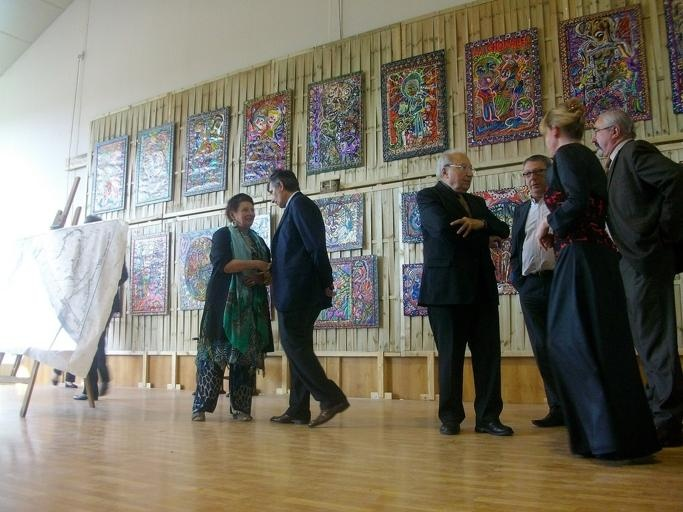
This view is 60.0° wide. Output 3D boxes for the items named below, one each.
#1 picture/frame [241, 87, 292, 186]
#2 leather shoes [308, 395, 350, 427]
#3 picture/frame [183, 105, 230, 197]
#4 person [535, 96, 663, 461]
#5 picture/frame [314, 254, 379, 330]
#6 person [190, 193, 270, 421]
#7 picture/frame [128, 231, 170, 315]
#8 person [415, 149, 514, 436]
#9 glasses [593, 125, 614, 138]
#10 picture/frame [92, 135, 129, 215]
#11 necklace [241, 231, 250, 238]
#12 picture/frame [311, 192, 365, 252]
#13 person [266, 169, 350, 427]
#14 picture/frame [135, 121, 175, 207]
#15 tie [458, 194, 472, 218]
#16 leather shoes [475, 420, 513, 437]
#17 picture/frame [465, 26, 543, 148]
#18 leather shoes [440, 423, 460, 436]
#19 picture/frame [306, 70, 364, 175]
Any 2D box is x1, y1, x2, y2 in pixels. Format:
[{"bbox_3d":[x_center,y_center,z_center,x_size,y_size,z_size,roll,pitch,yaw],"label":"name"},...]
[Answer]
[{"bbox_3d":[-1.002,-1.582,7.904,0.857,1.221,0.150,-7,-6,31],"label":"picture/frame"},{"bbox_3d":[-0.101,1.214,4.614,0.305,0.220,0.200,-4,-5,-6],"label":"leather shoes"},{"bbox_3d":[-1.923,-1.482,8.440,0.869,1.219,0.101,-7,-6,30],"label":"picture/frame"},{"bbox_3d":[1.448,0.242,3.382,0.536,1.828,0.241,-6,-5,25],"label":"person"},{"bbox_3d":[0.099,0.402,6.424,0.752,0.731,0.052,-5,-12,29],"label":"picture/frame"},{"bbox_3d":[-0.932,0.404,4.997,0.701,1.880,0.350,-2,-5,-12],"label":"person"},{"bbox_3d":[-2.812,0.288,8.695,0.942,1.510,0.064,-7,-12,33],"label":"picture/frame"},{"bbox_3d":[0.871,0.244,4.186,0.635,2.037,0.411,-4,-5,3],"label":"person"},{"bbox_3d":[1.803,-0.856,4.035,0.111,0.041,0.119,5,6,-3],"label":"glasses"},{"bbox_3d":[-3.711,-1.289,9.459,0.852,1.214,0.151,-7,-6,35],"label":"picture/frame"},{"bbox_3d":[-0.838,-0.186,5.138,0.048,0.013,0.051,22,-9,3],"label":"necklace"},{"bbox_3d":[-0.001,-0.368,6.604,0.646,0.748,0.032,0,0,41],"label":"picture/frame"},{"bbox_3d":[-0.313,0.292,4.732,0.634,2.105,0.380,-8,-7,44],"label":"person"},{"bbox_3d":[-2.805,-1.365,8.931,1.038,1.638,0.060,-7,-14,33],"label":"picture/frame"},{"bbox_3d":[0.897,-0.375,4.295,0.096,0.159,0.077,-5,-22,-19],"label":"tie"},{"bbox_3d":[1.069,1.193,4.105,0.197,0.090,0.102,-11,-14,36],"label":"leather shoes"},{"bbox_3d":[1.799,-1.878,6.503,0.784,1.298,0.035,-3,-18,17],"label":"picture/frame"},{"bbox_3d":[0.770,1.226,4.159,0.141,0.069,0.062,12,-16,-11],"label":"leather shoes"},{"bbox_3d":[-0.044,-1.643,7.377,1.141,1.811,0.068,-3,-5,36],"label":"picture/frame"}]
